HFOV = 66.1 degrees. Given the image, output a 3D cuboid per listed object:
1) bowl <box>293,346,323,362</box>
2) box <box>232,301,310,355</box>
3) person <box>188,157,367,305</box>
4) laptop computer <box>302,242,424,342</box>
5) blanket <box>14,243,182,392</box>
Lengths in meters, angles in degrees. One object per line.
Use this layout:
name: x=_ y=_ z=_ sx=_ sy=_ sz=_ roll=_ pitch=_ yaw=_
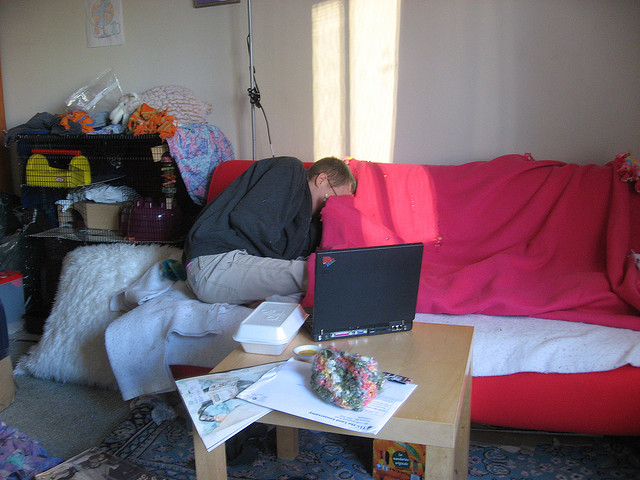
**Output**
bowl: x=-0.020 y=0.314 z=1.379 sx=0.056 sy=0.015 sz=0.053 roll=1 pitch=13 yaw=0
box: x=-0.143 y=0.264 z=1.490 sx=0.173 sy=0.089 sz=0.259 roll=2 pitch=11 yaw=12
person: x=-0.210 y=-0.057 z=2.265 sx=0.840 sy=0.587 sz=0.550 roll=9 pitch=2 yaw=-3
laptop computer: x=0.101 y=0.144 z=1.558 sx=0.365 sy=0.267 sz=0.279 roll=-2 pitch=10 yaw=-15
blanket: x=-1.075 y=0.347 z=2.346 sx=0.677 sy=0.639 sz=0.197 roll=8 pitch=-1 yaw=5
